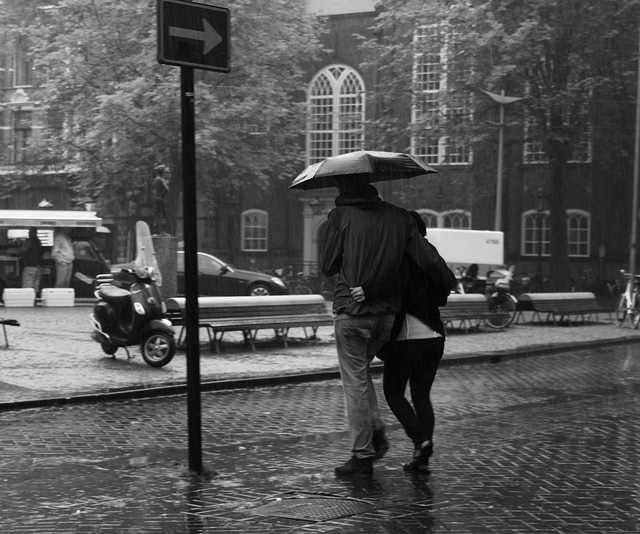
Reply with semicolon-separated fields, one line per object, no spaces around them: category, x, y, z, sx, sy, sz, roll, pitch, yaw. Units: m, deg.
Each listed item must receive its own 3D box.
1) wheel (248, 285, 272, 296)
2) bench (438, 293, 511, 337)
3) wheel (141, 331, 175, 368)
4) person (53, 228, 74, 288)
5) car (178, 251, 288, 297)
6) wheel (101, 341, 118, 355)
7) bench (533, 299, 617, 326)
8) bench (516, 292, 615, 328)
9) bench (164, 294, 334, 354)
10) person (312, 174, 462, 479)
wheel;-1.673;0.608;27.237;0.387;0.269;0.107;2;-3;-8
bench;3.113;0.917;20.359;1.337;0.801;2.932;-1;2;9
wheel;-2.280;1.141;14.237;0.316;0.491;0.438;-4;3;-39
person;-7.411;-0.279;29.257;0.561;1.692;0.755;-2;2;-13
car;-2.423;0.290;27.649;3.077;0.725;1.087;0;0;-3
wheel;-3.127;1.189;15.031;0.240;0.192;0.258;1;-3;0
bench;5.590;0.989;22.790;0.765;0.592;2.307;0;2;36
bench;5.406;0.941;22.880;1.325;0.787;2.519;0;3;38
bench;-1.118;0.909;17.040;1.506;0.931;3.328;0;2;36
person;0.366;0.442;8.475;0.903;2.393;1.043;-3;3;-18
